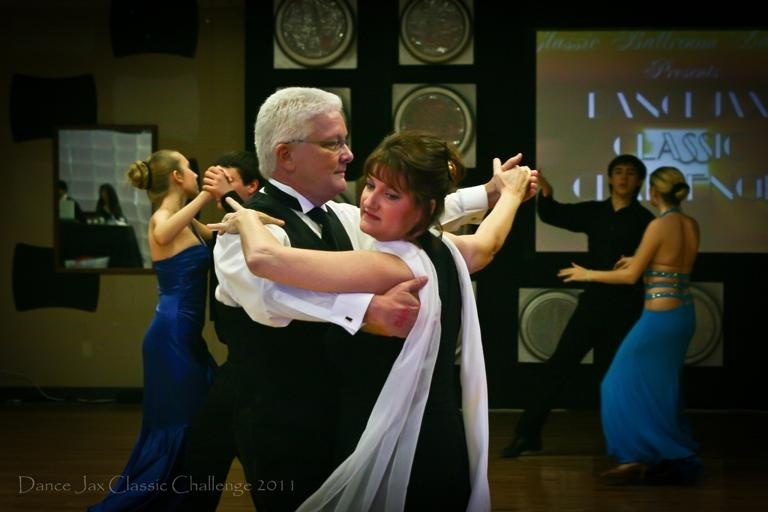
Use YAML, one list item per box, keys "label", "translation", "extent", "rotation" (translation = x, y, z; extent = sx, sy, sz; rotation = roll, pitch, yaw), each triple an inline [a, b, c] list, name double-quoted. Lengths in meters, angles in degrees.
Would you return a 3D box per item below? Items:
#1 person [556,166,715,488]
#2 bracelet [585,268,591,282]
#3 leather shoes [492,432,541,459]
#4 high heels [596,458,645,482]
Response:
- label: "person"
  translation: [2.098, 0.494, 5.803]
  extent: [0.777, 2.364, 0.732]
  rotation: [4, 7, 8]
- label: "bracelet"
  translation: [1.692, 0.159, 6.178]
  extent: [0.027, 0.075, 0.057]
  rotation: [-3, -13, 1]
- label: "leather shoes"
  translation: [1.038, 1.529, 5.955]
  extent: [0.413, 0.168, 0.137]
  rotation: [-3, -10, -7]
- label: "high heels"
  translation: [1.821, 1.635, 5.641]
  extent: [0.266, 0.105, 0.151]
  rotation: [-11, -17, 3]
